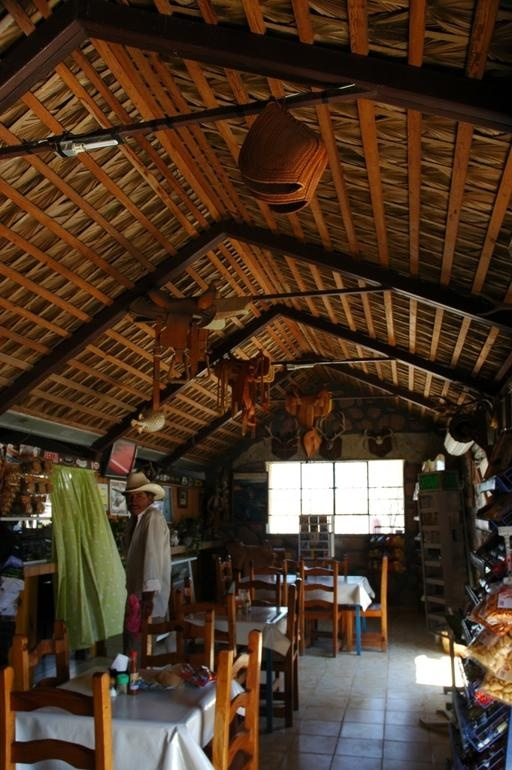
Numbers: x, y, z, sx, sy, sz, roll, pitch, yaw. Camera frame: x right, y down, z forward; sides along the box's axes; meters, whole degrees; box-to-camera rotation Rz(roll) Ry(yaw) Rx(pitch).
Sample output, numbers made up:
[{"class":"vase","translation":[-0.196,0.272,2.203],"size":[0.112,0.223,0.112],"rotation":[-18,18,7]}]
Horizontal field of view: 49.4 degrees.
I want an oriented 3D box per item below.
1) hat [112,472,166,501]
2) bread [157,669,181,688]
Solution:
[{"class":"hat","translation":[-0.955,0.834,4.553],"size":[0.301,0.150,0.383],"rotation":[-1,-32,14]},{"class":"bread","translation":[-0.368,1.230,2.343],"size":[0.095,0.050,0.140],"rotation":[5,-14,-17]}]
